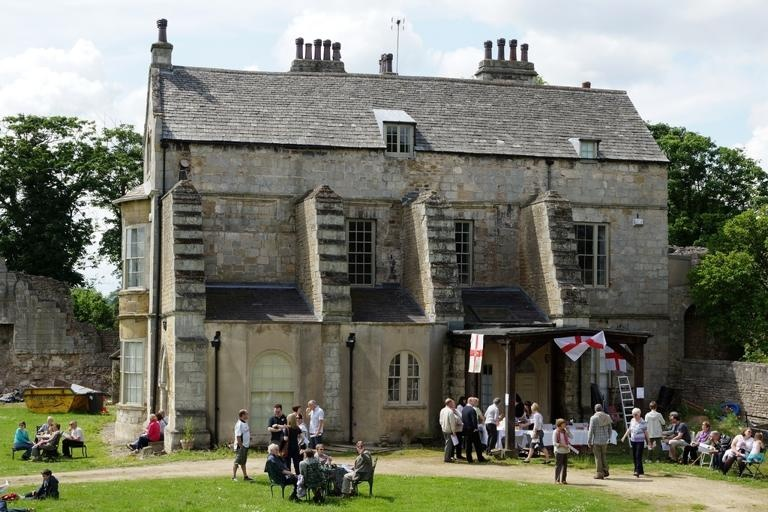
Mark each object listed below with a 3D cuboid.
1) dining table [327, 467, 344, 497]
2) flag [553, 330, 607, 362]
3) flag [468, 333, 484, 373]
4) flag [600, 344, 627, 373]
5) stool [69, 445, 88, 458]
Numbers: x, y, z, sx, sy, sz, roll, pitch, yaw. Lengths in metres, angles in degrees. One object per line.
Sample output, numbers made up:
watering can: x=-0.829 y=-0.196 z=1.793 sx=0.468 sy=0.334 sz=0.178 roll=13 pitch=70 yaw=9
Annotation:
dining table: x=-1.857 y=8.488 z=54.204 sx=0.908 sy=0.913 sz=0.880 roll=1 pitch=-6 yaw=-11
flag: x=8.382 y=3.663 z=60.775 sx=1.668 sy=1.326 sz=0.662 roll=-16 pitch=3 yaw=-2
flag: x=3.962 y=4.065 z=61.061 sx=0.419 sy=1.624 sz=1.476 roll=2 pitch=-10 yaw=-10
flag: x=10.090 y=4.387 z=62.405 sx=1.427 sy=1.258 sz=0.201 roll=15 pitch=-29 yaw=-36
stool: x=-13.152 y=8.351 z=61.493 sx=0.645 sy=0.888 sz=0.518 roll=4 pitch=-9 yaw=-14
